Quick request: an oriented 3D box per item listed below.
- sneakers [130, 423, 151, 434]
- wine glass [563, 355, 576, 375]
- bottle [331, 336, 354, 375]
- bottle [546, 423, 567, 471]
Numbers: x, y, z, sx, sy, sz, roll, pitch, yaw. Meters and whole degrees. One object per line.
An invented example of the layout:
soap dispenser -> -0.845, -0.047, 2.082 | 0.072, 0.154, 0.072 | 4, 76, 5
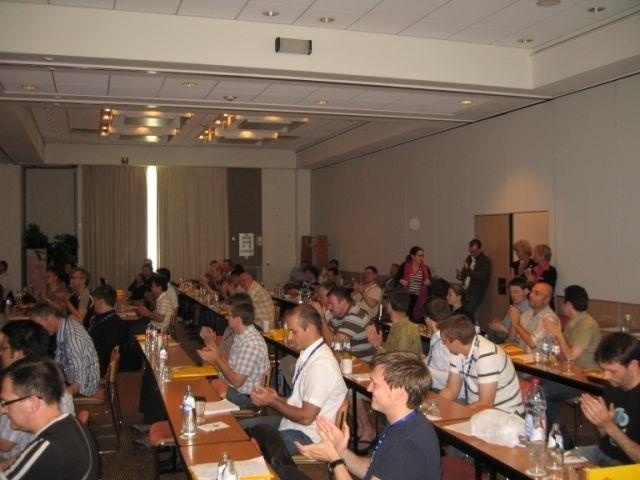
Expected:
sneakers -> -2.094, 2.212, 5.593 | 0.117, 0.047, 0.152 | -4, 12, -16
wine glass -> 2.366, 1.209, 4.617 | 0.142, 0.178, 0.155 | -3, -10, 18
bottle -> 0.302, 1.202, 4.897 | 0.233, 0.413, 0.238 | -1, -10, 0
bottle -> 1.435, 1.240, 2.920 | 0.084, 0.276, 0.246 | -1, 3, 27
